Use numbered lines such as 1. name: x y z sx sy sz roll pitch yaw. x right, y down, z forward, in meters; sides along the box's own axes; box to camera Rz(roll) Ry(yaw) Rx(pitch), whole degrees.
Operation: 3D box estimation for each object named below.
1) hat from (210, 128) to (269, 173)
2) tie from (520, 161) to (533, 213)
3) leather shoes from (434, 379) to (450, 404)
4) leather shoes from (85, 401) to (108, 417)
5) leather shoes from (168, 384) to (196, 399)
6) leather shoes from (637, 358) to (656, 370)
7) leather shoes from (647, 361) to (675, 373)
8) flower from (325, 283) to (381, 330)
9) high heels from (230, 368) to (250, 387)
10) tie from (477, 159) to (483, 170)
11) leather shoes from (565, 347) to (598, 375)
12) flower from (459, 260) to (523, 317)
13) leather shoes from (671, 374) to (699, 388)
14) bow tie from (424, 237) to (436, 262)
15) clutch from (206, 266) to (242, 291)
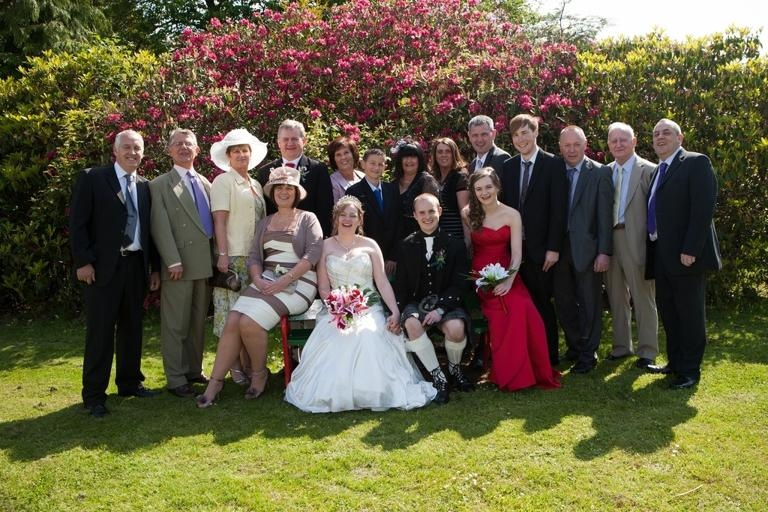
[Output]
1. hat: -1.776 -1.331 7.576 0.578 0.245 0.657 -6 22 21
2. tie: 1.784 -0.892 7.626 0.098 0.721 0.090 1 -11 43
3. leather shoes: 0.642 1.544 6.867 0.202 0.263 0.614 -2 -5 3
4. leather shoes: -3.208 1.707 6.735 0.312 0.137 0.117 -8 -4 38
5. leather shoes: -2.423 1.603 7.187 0.359 0.156 0.130 -8 -1 17
6. leather shoes: 3.211 1.318 7.461 0.281 0.098 0.124 13 -2 32
7. leather shoes: 3.347 1.371 7.362 0.303 0.132 0.105 7 21 21
8. flower: -0.337 0.521 7.128 0.646 0.482 0.629 -3 11 18
9. high heels: -1.775 1.469 7.459 0.132 0.280 0.065 -42 -9 14
10. tie: 1.242 -1.196 7.939 0.064 0.113 0.034 -6 -15 39
11. leather shoes: 2.453 1.341 7.581 0.196 0.246 0.567 -11 -16 38
12. flower: 1.279 0.342 7.256 0.371 0.553 0.541 13 38 41
13. leather shoes: 3.452 1.442 6.967 0.323 0.098 0.134 7 -24 -29
14. bow tie: 0.542 -0.093 7.319 0.102 0.283 0.046 -1 -1 2
15. clutch: -1.901 0.274 7.227 0.366 0.281 0.177 -2 -1 27
